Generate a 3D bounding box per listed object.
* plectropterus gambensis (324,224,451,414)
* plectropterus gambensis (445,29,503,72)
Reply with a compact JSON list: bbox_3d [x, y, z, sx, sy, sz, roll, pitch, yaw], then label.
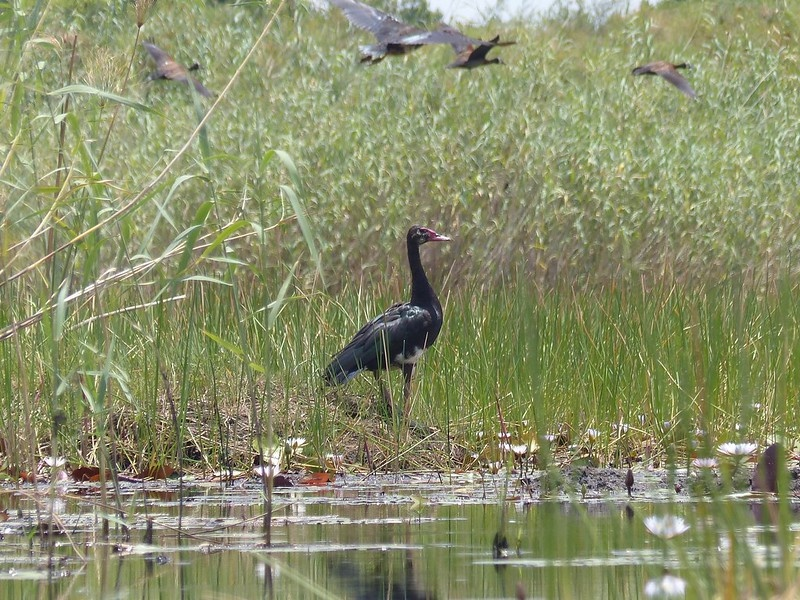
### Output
[{"bbox_3d":[-0.038,0.127,9.396,0.636,1.370,1.417,-3,-5,21],"label":"plectropterus gambensis"},{"bbox_3d":[0.510,-1.636,8.873,0.334,0.297,0.450,1,7,-12],"label":"plectropterus gambensis"}]
